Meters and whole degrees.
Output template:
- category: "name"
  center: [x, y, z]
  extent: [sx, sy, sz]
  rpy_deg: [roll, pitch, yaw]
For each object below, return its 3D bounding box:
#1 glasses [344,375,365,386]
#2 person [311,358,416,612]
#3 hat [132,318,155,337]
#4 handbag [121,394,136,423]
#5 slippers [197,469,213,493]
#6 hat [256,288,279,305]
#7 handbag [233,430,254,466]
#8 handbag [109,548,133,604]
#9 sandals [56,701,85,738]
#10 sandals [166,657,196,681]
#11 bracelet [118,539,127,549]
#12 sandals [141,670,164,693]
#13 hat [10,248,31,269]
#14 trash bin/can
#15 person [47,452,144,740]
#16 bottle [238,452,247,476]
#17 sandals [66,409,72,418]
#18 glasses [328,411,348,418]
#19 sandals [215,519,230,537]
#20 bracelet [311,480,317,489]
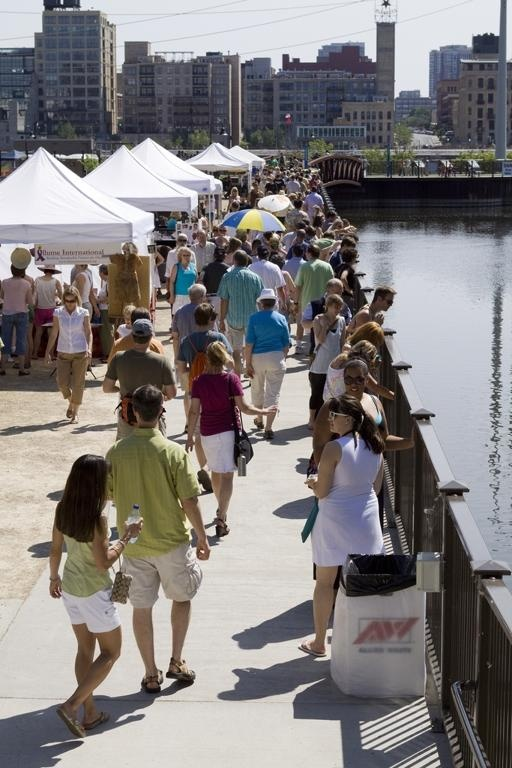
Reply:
- category: "glasses"
  center: [0.533, -0.014, 6.497]
  extent: [0.119, 0.056, 0.073]
  rpy_deg: [2, 8, 18]
- category: "person"
  center: [0.688, 0.533, 6.471]
  extent: [0.386, 1.341, 0.521]
  rpy_deg: [-11, -11, 11]
- category: "hat"
  center: [-0.732, -0.359, 7.542]
  extent: [0.125, 0.113, 0.224]
  rpy_deg: [7, 0, 2]
- category: "handbag"
  center: [-0.709, 0.134, 6.396]
  extent: [0.074, 0.235, 0.162]
  rpy_deg: [-3, -3, 2]
- category: "slippers"
  center: [-0.427, 0.795, 9.504]
  extent: [0.078, 0.277, 0.106]
  rpy_deg: [-9, -2, -8]
- category: "hat"
  center: [0.079, -0.838, 11.169]
  extent: [0.257, 0.144, 0.338]
  rpy_deg: [0, -6, 2]
- category: "handbag"
  center: [-0.101, 0.417, 8.025]
  extent: [0.150, 0.322, 0.287]
  rpy_deg: [1, 5, -1]
- category: "handbag"
  center: [-0.605, 0.900, 5.129]
  extent: [0.085, 0.158, 0.205]
  rpy_deg: [-1, 7, -10]
- category: "sandals"
  center: [-0.797, 1.461, 5.003]
  extent: [0.064, 0.217, 0.069]
  rpy_deg: [-39, 23, -28]
- category: "sandals"
  center: [-0.377, 1.407, 5.708]
  extent: [0.071, 0.092, 0.171]
  rpy_deg: [4, -2, 14]
- category: "bracelet"
  center: [-0.594, 0.712, 5.172]
  extent: [0.034, 0.035, 0.027]
  rpy_deg: [-16, 22, -41]
- category: "sandals"
  center: [-0.509, 1.436, 5.630]
  extent: [0.049, 0.063, 0.137]
  rpy_deg: [2, 13, 3]
- category: "hat"
  center: [-3.050, -1.620, 15.027]
  extent: [0.238, 0.278, 0.423]
  rpy_deg: [-2, 8, -14]
- category: "trash bin/can"
  center: [0.565, 1.174, 5.791]
  extent: [0.530, 0.773, 0.566]
  rpy_deg: [0, 4, 1]
- category: "person"
  center: [-0.711, 0.917, 5.147]
  extent: [0.395, 1.256, 0.448]
  rpy_deg: [-2, 6, -12]
- category: "bottle"
  center: [-0.101, 0.548, 7.783]
  extent: [0.061, 0.112, 0.183]
  rpy_deg: [0, 7, -2]
- category: "sandals"
  center: [-2.018, 0.319, 12.542]
  extent: [0.095, 0.115, 0.060]
  rpy_deg: [0, -1, 36]
- category: "glasses"
  center: [0.390, 0.147, 5.689]
  extent: [0.036, 0.034, 0.099]
  rpy_deg: [-7, 10, -44]
- category: "sandals"
  center: [-0.256, 1.026, 8.278]
  extent: [0.054, 0.134, 0.167]
  rpy_deg: [4, 11, 18]
- category: "bracelet"
  center: [0.282, 0.503, 5.821]
  extent: [0.013, 0.035, 0.022]
  rpy_deg: [7, -9, -7]
